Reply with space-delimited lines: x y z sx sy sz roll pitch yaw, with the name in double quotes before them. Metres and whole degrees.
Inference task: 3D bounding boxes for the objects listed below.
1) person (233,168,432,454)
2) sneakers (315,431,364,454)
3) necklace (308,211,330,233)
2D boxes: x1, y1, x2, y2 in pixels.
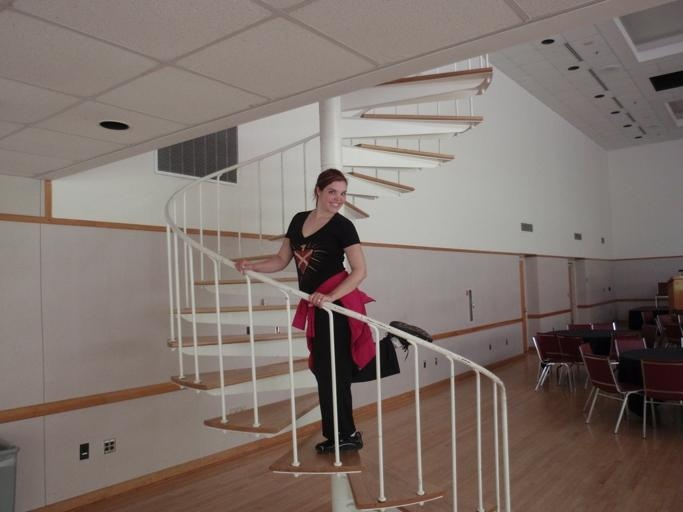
"person" -0.029 0.369 3.247 0.602 1.809 0.662 1 -10 -39
"sneakers" 0.005 1.213 3.178 0.359 0.120 0.121 -1 -5 5
"necklace" -0.161 -0.210 3.119 0.042 0.103 0.173 19 -28 -34
